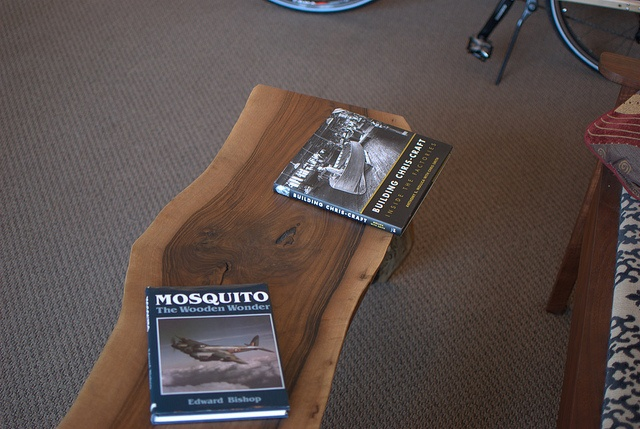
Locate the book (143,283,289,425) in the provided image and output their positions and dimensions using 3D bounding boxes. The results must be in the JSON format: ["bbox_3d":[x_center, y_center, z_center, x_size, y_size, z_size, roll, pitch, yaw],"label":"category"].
[{"bbox_3d":[-0.291,0.381,1.635,0.379,0.297,0.340,4,23,-18],"label":"book"}]

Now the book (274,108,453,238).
[{"bbox_3d":[0.147,-0.142,1.922,0.407,0.058,0.423,22,55,15],"label":"book"}]
